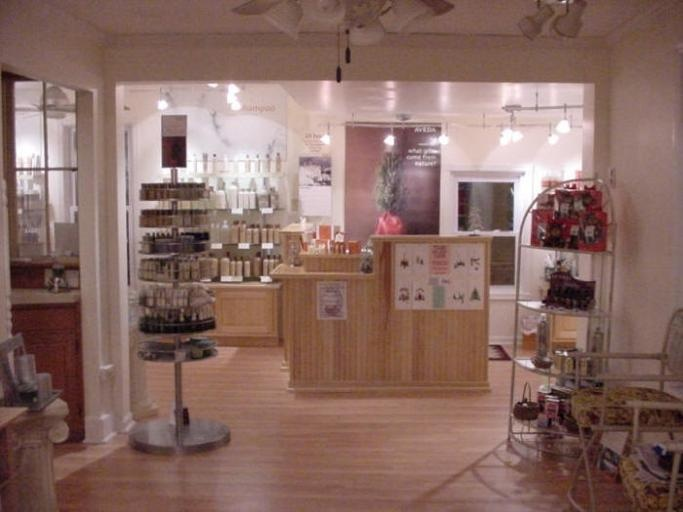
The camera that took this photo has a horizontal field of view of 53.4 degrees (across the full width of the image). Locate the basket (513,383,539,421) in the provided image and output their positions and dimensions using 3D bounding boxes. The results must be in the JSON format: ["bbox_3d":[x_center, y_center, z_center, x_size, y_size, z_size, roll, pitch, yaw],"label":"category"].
[{"bbox_3d":[1.672,1.290,6.105,0.210,0.368,0.296,7,14,31],"label":"basket"}]
